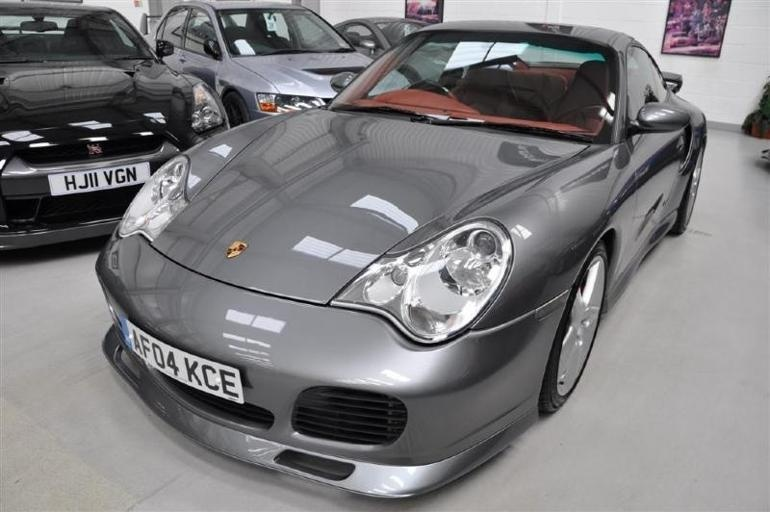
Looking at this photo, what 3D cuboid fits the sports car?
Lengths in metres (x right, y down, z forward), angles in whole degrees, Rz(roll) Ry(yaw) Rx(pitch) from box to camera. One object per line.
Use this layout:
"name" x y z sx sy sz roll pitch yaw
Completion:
"sports car" 0.285 -0.383 2.074 1.761 1.376 2.895 21 34 32
